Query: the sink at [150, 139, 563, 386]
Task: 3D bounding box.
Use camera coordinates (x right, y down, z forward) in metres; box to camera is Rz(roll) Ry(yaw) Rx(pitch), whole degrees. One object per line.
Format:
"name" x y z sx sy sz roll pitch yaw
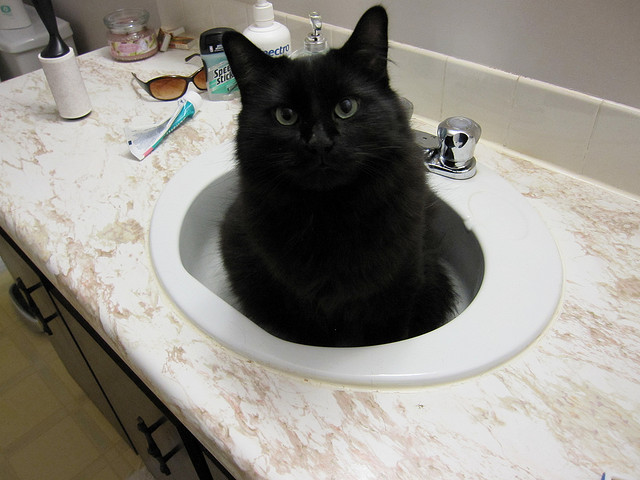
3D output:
"sink" 0.043 0.025 0.949 0.751 0.216 0.518 6 41 7

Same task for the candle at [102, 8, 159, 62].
"candle" -0.527 -0.579 1.477 0.147 0.123 0.147 -14 47 -15

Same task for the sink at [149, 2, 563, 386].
"sink" 0.123 -0.026 1.039 0.686 0.525 0.693 5 38 10
